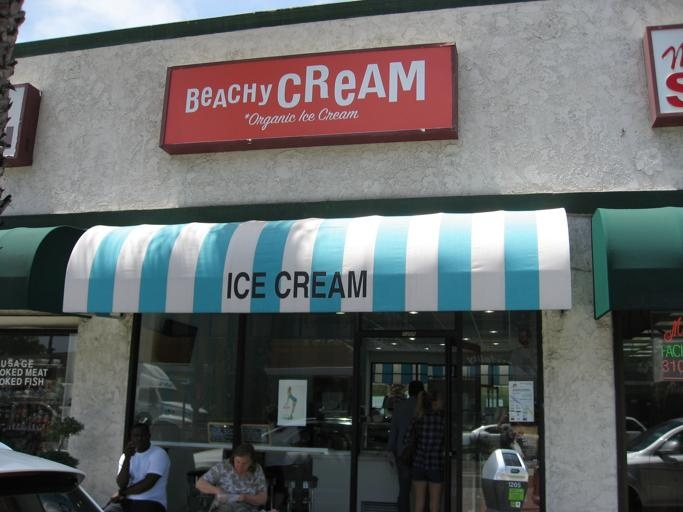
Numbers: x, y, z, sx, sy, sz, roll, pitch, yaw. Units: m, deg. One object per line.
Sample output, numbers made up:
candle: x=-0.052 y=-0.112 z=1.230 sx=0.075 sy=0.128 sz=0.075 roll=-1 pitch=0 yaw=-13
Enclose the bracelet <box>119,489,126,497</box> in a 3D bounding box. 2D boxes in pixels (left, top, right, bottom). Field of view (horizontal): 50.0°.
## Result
bracelet: x=-2.985 y=3.218 z=9.955 sx=0.100 sy=0.076 sz=0.027 roll=11 pitch=-23 yaw=8
